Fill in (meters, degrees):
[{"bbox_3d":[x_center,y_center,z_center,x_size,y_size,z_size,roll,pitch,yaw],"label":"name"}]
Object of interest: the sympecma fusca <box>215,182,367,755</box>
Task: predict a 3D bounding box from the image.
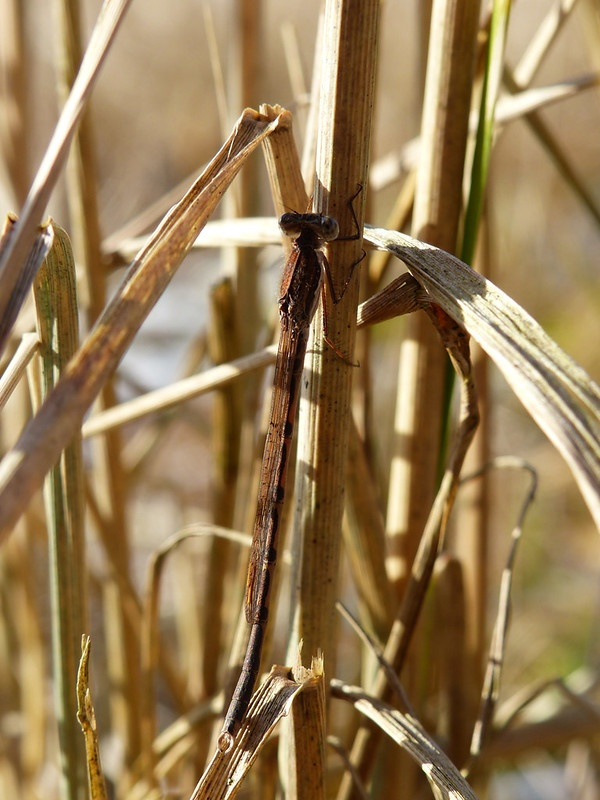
[{"bbox_3d":[-0.034,0.111,1.167,0.127,0.143,0.702,14,-80,35],"label":"sympecma fusca"}]
